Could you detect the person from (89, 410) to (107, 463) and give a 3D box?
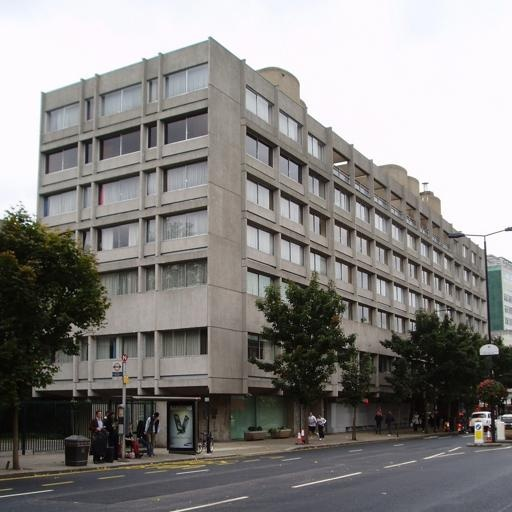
[{"bbox_3d":[-5.932,6.819,26.726,0.645,1.948,1.210,2,-16,-14],"label":"person"}]

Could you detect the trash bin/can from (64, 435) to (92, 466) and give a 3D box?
[{"bbox_3d":[-6.442,6.971,25.561,0.844,1.371,0.938,2,-5,-36],"label":"trash bin/can"}]

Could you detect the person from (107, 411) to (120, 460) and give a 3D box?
[{"bbox_3d":[-5.554,6.939,27.371,0.426,1.747,0.935,-1,-15,-1],"label":"person"}]

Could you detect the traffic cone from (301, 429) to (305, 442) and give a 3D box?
[{"bbox_3d":[2.706,10.371,40.678,0.211,0.666,0.458,-2,-15,5],"label":"traffic cone"}]
